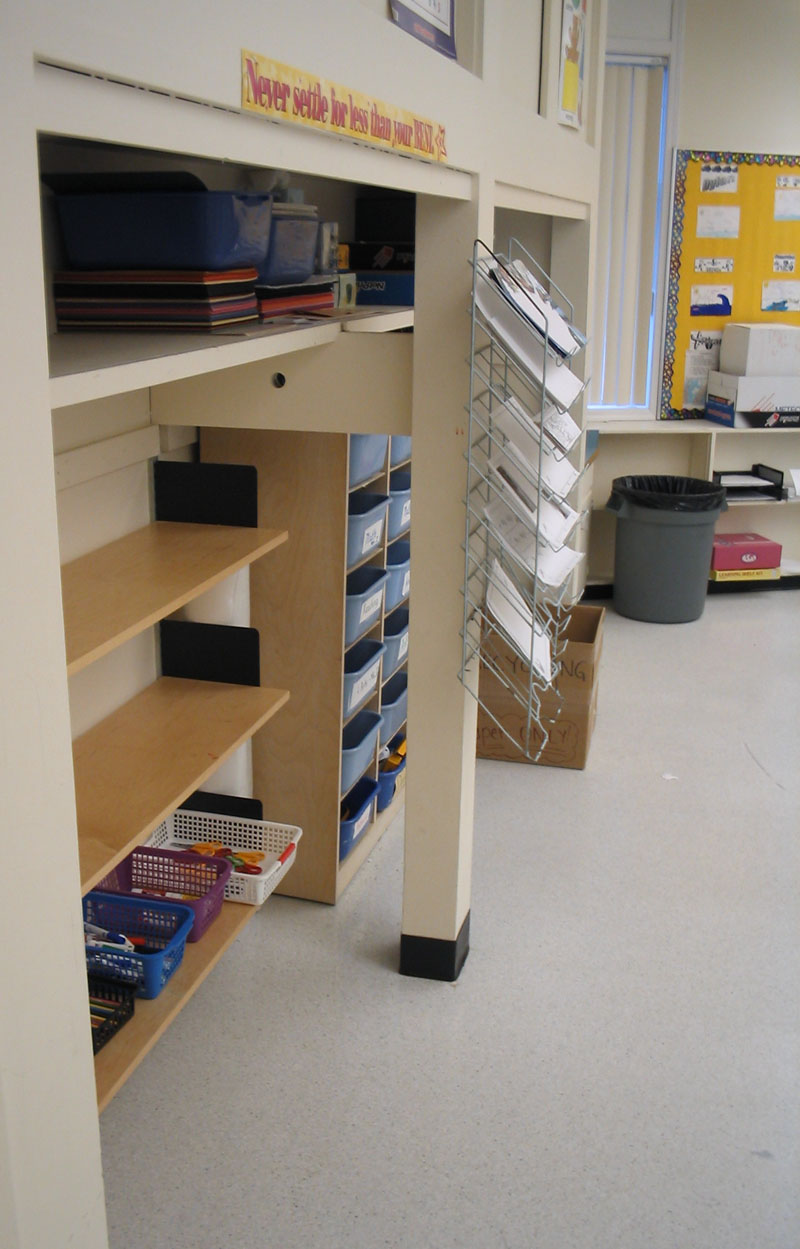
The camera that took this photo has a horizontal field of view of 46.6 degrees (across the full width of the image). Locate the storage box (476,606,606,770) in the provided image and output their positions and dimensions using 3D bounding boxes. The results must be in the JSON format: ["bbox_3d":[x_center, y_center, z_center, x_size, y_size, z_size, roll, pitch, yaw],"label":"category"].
[{"bbox_3d":[0.513,0.216,3.450,0.508,0.423,0.528,4,15,13],"label":"storage box"}]

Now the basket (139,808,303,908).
[{"bbox_3d":[-0.464,0.597,2.492,0.341,0.114,0.246,9,26,17],"label":"basket"}]

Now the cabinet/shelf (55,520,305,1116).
[{"bbox_3d":[-0.457,0.390,1.959,0.282,0.858,0.940,4,21,11],"label":"cabinet/shelf"}]

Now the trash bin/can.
[{"bbox_3d":[1.436,-0.372,5.080,0.606,0.743,0.352,3,14,13],"label":"trash bin/can"}]

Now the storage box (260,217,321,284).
[{"bbox_3d":[-0.222,-0.744,1.840,0.088,0.122,0.171,10,46,1],"label":"storage box"}]
